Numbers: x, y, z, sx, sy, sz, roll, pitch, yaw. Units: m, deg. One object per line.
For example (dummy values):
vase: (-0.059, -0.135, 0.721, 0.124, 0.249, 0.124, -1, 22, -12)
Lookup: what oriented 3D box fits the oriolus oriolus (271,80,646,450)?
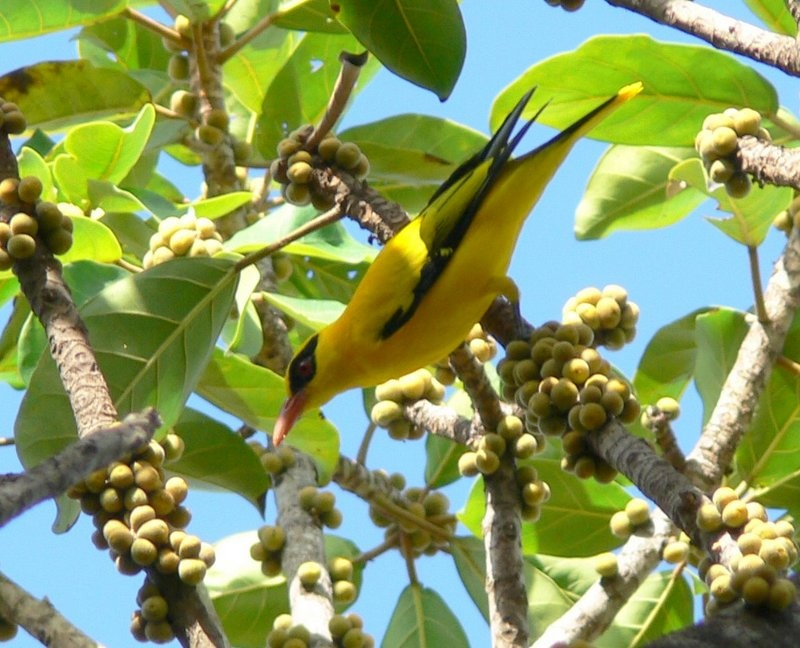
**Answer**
oriolus oriolus: (0.185, -0.155, 4.662, 0.470, 0.350, 1.320, 31, -73, -15)
